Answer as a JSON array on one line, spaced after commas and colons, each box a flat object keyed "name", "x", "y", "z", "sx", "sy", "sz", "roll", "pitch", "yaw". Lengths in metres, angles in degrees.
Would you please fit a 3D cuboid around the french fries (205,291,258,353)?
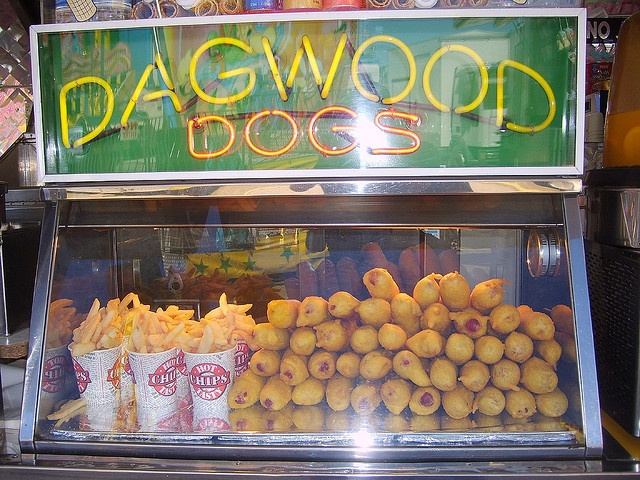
[{"name": "french fries", "x": -0.337, "y": 0.319, "z": 1.871, "sx": 0.184, "sy": 0.198, "sz": 0.072, "roll": 16, "pitch": -53, "yaw": -8}]

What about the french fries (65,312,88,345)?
[{"name": "french fries", "x": -0.886, "y": 0.322, "z": 1.756, "sx": 0.024, "sy": 0.113, "sz": 0.027, "roll": 29, "pitch": -25, "yaw": -22}]

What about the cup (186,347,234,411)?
[{"name": "cup", "x": -0.397, "y": 0.503, "z": 1.748, "sx": 0.172, "sy": 0.200, "sz": 0.182, "roll": -1, "pitch": -17, "yaw": 0}]

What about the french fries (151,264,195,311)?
[{"name": "french fries", "x": -0.643, "y": 0.162, "z": 2.093, "sx": 0.052, "sy": 0.251, "sz": 0.264, "roll": -18, "pitch": -21, "yaw": -6}]

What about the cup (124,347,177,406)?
[{"name": "cup", "x": -0.597, "y": 0.492, "z": 1.751, "sx": 0.167, "sy": 0.182, "sz": 0.187, "roll": -2, "pitch": -9, "yaw": 5}]

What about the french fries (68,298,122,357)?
[{"name": "french fries", "x": -0.842, "y": 0.341, "z": 1.842, "sx": 0.258, "sy": 0.092, "sz": 0.207, "roll": -9, "pitch": 17, "yaw": 40}]

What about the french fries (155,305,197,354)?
[{"name": "french fries", "x": -0.558, "y": 0.345, "z": 1.887, "sx": 0.116, "sy": 0.062, "sz": 0.145, "roll": -16, "pitch": 22, "yaw": -31}]

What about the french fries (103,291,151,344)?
[{"name": "french fries", "x": -0.733, "y": 0.294, "z": 1.835, "sx": 0.065, "sy": 0.168, "sz": 0.121, "roll": -16, "pitch": -42, "yaw": 27}]
